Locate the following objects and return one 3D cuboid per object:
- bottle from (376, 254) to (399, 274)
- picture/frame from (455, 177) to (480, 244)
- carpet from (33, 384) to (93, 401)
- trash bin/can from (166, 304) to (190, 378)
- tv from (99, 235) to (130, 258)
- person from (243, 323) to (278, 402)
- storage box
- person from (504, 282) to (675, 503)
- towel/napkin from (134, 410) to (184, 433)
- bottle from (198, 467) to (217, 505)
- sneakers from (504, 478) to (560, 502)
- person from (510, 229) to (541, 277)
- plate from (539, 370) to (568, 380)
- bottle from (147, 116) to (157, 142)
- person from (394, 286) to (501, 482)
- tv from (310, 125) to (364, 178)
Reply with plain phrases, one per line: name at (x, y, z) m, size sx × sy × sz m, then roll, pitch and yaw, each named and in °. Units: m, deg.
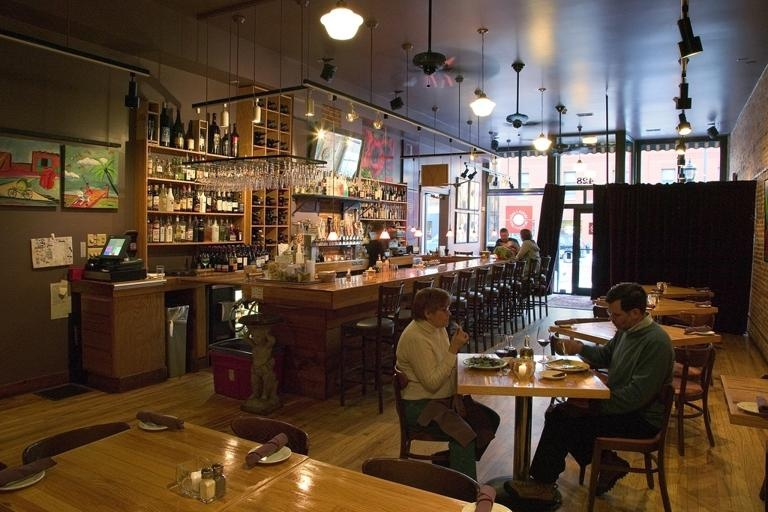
bottle at (-0.014, 0.144, 9.042) m, size 0.225 × 0.365 × 0.355 m, roll 6°, pitch 8°, yaw 43°
picture/frame at (2.398, -1.323, 16.242) m, size 0.071 × 2.019 × 1.988 m, roll 3°, pitch 3°, yaw 26°
carpet at (-4.251, 1.772, 7.291) m, size 0.598 × 0.053 × 0.489 m, roll 12°, pitch 17°, yaw 33°
trash bin/can at (-2.931, 1.198, 7.821) m, size 0.363 × 0.971 × 0.168 m, roll -11°, pitch 19°, yaw -43°
tv at (-3.636, -0.113, 7.459) m, size 0.326 × 0.312 × 0.090 m, roll 8°, pitch 2°, yaw 22°
person at (-1.563, 1.282, 6.873) m, size 0.322 × 1.024 × 0.452 m, roll -9°, pitch 18°, yaw -39°
storage box at (-1.833, 1.405, 7.432) m, size 1.209 × 0.881 × 0.743 m, roll 1°, pitch -1°, yaw 35°
person at (1.997, 1.339, 5.365) m, size 1.379 × 2.128 × 1.034 m, roll 6°, pitch -3°, yaw 8°
towel/napkin at (-1.801, 1.310, 4.416) m, size 0.245 × 0.072 × 0.190 m, roll 11°, pitch -2°, yaw -6°
bottle at (-1.223, 1.560, 3.802) m, size 0.108 × 0.207 × 0.109 m, roll 2°, pitch 14°, yaw -1°
sneakers at (1.370, 2.137, 5.258) m, size 0.525 × 0.196 × 0.213 m, roll 4°, pitch -6°, yaw 7°
person at (3.069, -0.034, 12.244) m, size 0.549 × 1.207 × 0.578 m, roll 3°, pitch 27°, yaw -12°
plate at (1.499, 1.059, 4.945) m, size 0.214 × 0.055 × 0.124 m, roll 6°, pitch 14°, yaw 12°
bottle at (-3.395, -1.840, 8.062) m, size 0.103 × 0.398 × 0.226 m, roll 6°, pitch 14°, yaw 14°
person at (0.576, 1.284, 5.252) m, size 0.961 × 1.904 × 0.759 m, roll 4°, pitch 6°, yaw 29°
tv at (-0.927, -1.940, 10.375) m, size 0.117 × 1.013 × 1.439 m, roll 23°, pitch 20°, yaw 32°
